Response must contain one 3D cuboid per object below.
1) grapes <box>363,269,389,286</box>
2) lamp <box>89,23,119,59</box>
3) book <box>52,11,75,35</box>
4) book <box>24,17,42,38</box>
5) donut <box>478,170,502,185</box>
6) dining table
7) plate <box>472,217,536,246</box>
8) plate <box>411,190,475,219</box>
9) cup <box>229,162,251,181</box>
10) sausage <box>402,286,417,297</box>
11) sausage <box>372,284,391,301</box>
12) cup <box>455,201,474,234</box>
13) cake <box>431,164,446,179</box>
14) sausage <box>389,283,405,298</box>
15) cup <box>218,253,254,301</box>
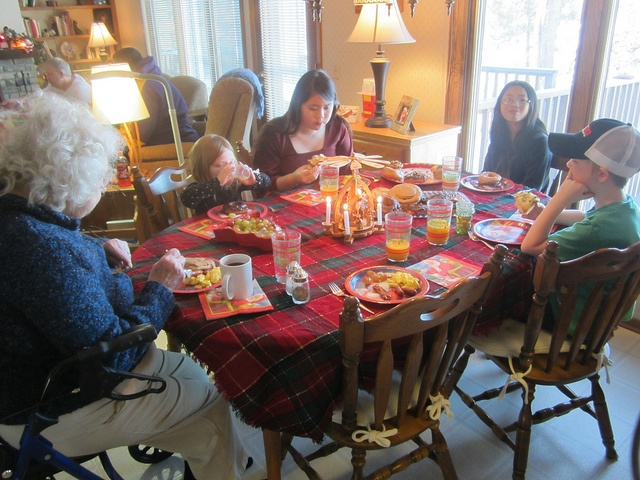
[{"bbox_3d":[0.189,0.124,1.669,0.054,0.025,0.056,-12,11,-9],"label":"grapes"},{"bbox_3d":[-3.229,-2.937,6.844,0.376,0.505,0.502,-12,26,-24],"label":"lamp"},{"bbox_3d":[-3.815,-3.209,6.854,0.147,0.271,0.252,-24,41,-34],"label":"book"},{"bbox_3d":[-4.082,-3.014,6.587,0.177,0.279,0.440,-13,27,-26],"label":"book"},{"bbox_3d":[0.882,-0.333,2.450,0.074,0.052,0.085,-3,15,-7],"label":"donut"},{"bbox_3d":[0.082,0.222,1.684,1.330,0.338,0.779,-16,25,-35],"label":"dining table"},{"bbox_3d":[0.770,-0.036,1.955,0.156,0.022,0.156,-19,32,-25],"label":"plate"},{"bbox_3d":[0.555,-0.181,2.189,0.233,0.026,0.141,3,27,-1],"label":"plate"},{"bbox_3d":[-0.416,-0.356,2.414,0.081,0.085,0.134,15,5,24],"label":"cup"},{"bbox_3d":[0.306,0.175,1.581,0.045,0.027,0.022,28,39,9],"label":"sausage"},{"bbox_3d":[0.213,0.177,1.590,0.031,0.020,0.060,-12,42,-24],"label":"sausage"},{"bbox_3d":[0.617,-0.094,1.979,0.094,0.151,0.102,-1,20,0],"label":"cup"},{"bbox_3d":[0.643,-0.373,2.516,0.073,0.035,0.085,0,17,0],"label":"cake"},{"bbox_3d":[0.268,0.172,1.592,0.023,0.021,0.050,-35,52,2],"label":"sausage"},{"bbox_3d":[-0.271,0.113,1.618,0.095,0.145,0.160,8,27,19],"label":"cup"}]
